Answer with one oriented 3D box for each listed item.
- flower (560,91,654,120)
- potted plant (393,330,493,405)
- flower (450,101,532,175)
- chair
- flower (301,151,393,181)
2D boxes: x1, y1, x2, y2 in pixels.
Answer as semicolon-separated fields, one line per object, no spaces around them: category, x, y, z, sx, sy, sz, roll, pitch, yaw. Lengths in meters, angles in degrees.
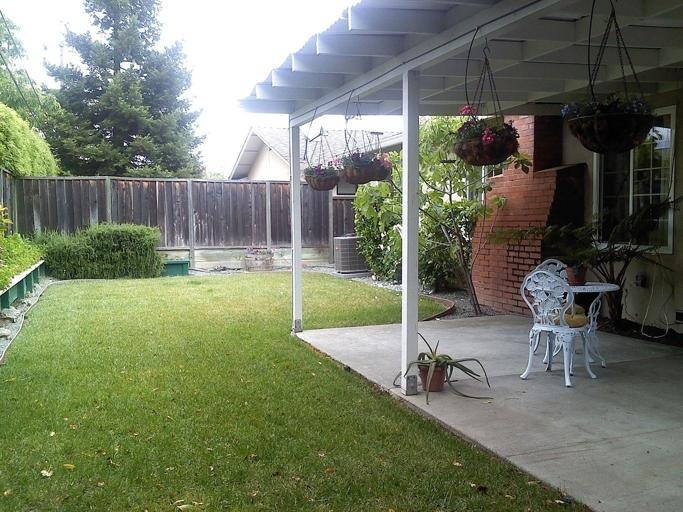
flower;2.088;-1.181;4.348;0.631;0.219;0.651;3;10;18
potted plant;0.918;1.026;5.036;0.747;0.390;0.692;-1;-11;30
flower;1.235;-0.973;4.845;0.795;0.518;0.841;-4;17;13
chair;2.168;0.648;5.433;0.716;1.064;0.984;6;11;33
flower;0.143;-0.985;6.056;0.773;0.281;0.501;-7;6;-3
